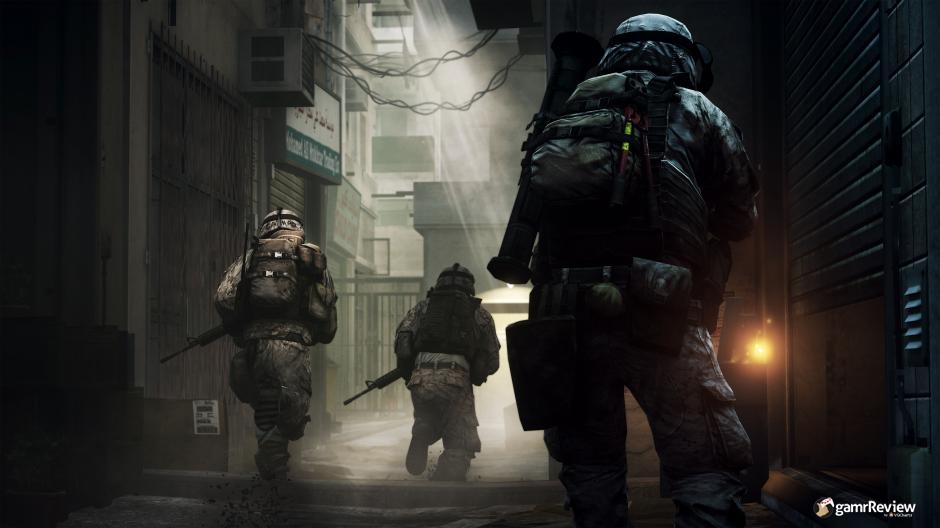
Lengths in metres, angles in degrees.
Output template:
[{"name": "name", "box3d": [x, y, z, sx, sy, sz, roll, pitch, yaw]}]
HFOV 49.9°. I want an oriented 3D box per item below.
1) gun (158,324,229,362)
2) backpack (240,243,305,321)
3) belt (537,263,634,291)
[{"name": "gun", "box3d": [-3.295, 0.930, 12.302, 0.776, 0.684, 0.529, 0, -1, 8]}, {"name": "backpack", "box3d": [-2.273, 0.172, 11.563, 0.726, 0.927, 0.348, 3, -10, -9]}, {"name": "belt", "box3d": [0.867, 0.102, 8.061, 0.791, 0.177, 0.085, -2, -11, 23]}]
